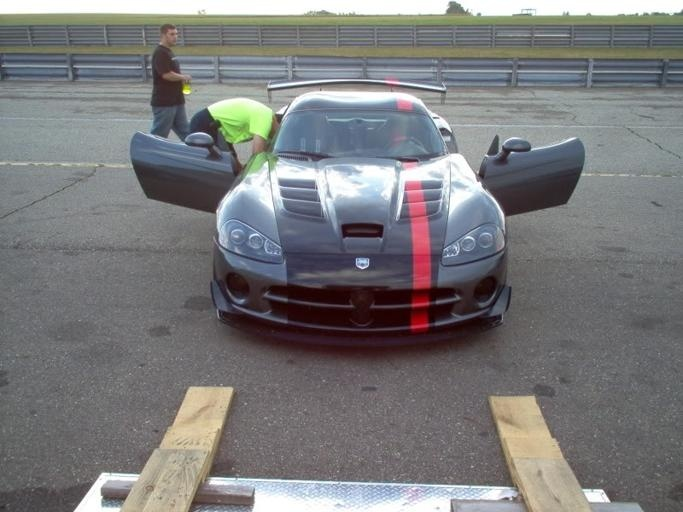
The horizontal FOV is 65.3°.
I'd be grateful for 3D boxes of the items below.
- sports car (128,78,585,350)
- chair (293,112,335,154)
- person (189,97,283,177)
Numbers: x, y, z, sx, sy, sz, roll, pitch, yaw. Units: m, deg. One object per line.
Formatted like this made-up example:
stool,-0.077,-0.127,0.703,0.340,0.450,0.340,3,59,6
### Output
sports car,0.097,-0.484,4.716,3.389,1.693,2.749,9,21,25
chair,-0.264,-1.179,5.195,0.283,0.435,0.128,-2,-9,3
person,-1.309,-1.482,6.639,1.328,0.780,0.811,7,24,11
